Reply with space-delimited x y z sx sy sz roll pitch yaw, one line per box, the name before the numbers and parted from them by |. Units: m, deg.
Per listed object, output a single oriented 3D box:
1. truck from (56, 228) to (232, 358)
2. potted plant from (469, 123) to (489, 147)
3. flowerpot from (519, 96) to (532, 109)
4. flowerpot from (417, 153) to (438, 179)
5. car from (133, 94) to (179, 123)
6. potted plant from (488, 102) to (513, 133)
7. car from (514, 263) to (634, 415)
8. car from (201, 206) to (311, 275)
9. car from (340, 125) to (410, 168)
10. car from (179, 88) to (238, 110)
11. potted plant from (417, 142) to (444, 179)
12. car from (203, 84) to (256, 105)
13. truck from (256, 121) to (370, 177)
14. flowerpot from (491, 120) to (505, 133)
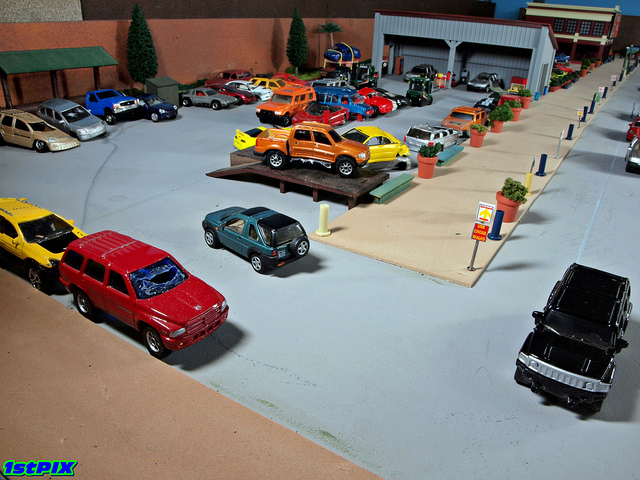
truck | -4.705 0.972 11.091 4.686 2.058 2.344 24 40 22
potted plant | 9.417 -6.127 24.914 0.867 1.301 0.839 3 26 5
flowerpot | 17.015 -11.306 34.758 1.348 0.955 0.617 -11 28 -25
flowerpot | 5.131 -3.540 20.181 0.831 1.230 0.449 6 26 11
car | -10.999 -8.507 27.891 2.662 1.185 1.715 18 36 27
potted plant | 11.765 -7.915 27.594 1.818 1.833 0.839 -18 32 -35
car | 6.425 2.536 10.663 2.125 1.831 3.897 16 37 28
car | -2.134 -0.232 13.815 3.422 1.441 1.906 27 37 28
car | 2.893 -4.856 21.045 3.166 1.087 2.436 2 32 -3
car | -8.371 -10.477 31.358 3.824 1.244 1.792 10 30 17
potted plant | 5.185 -3.736 20.173 0.908 1.590 0.681 -14 29 -28
car | -7.148 -11.352 32.455 3.472 1.144 1.666 18 37 20
truck | -0.356 -3.977 18.474 4.952 2.014 1.986 13 43 13
flowerpot | 11.813 -7.511 27.894 0.767 0.566 0.741 6 25 7
